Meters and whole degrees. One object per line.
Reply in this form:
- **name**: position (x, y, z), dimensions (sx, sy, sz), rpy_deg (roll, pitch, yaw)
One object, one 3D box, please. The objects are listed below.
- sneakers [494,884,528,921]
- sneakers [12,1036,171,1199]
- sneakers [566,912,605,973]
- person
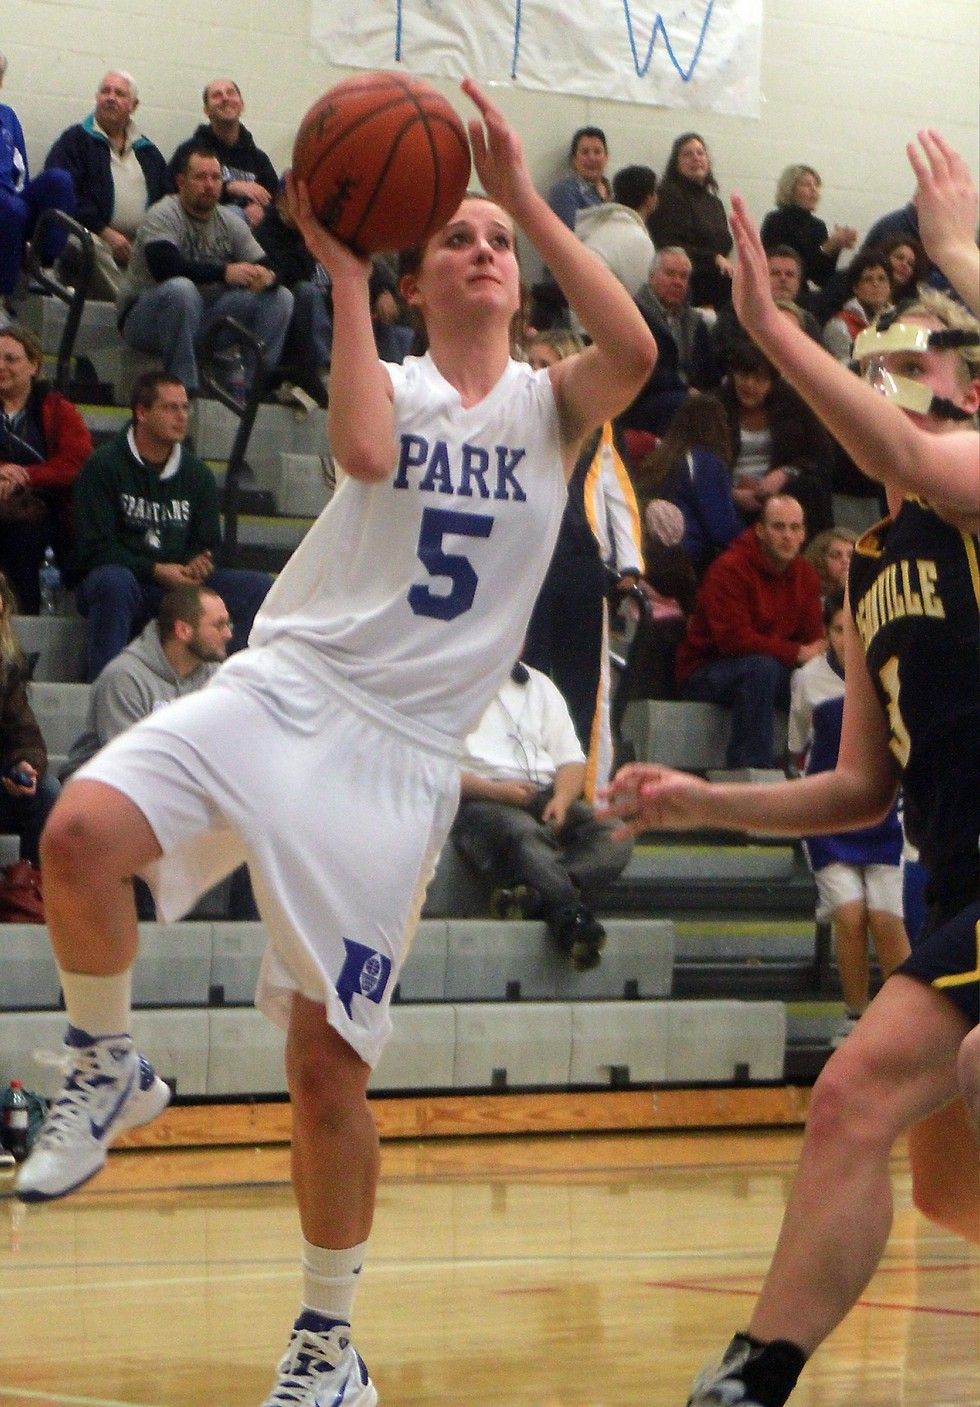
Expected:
- **sneakers**: position (0.063, 0.619, 5.087), dimensions (0.053, 0.068, 0.120), rpy_deg (-5, 13, -15)
- **sneakers**: position (-0.527, 0.548, 2.204), dimensions (0.167, 0.208, 0.196), rpy_deg (3, -7, -6)
- **sneakers**: position (0.292, 0.721, 5.009), dimensions (0.135, 0.137, 0.164), rpy_deg (-3, -9, -5)
- **person**: position (-0.200, 0.054, 2.282), dimensions (0.790, 1.801, 0.331), rpy_deg (4, -7, -13)
